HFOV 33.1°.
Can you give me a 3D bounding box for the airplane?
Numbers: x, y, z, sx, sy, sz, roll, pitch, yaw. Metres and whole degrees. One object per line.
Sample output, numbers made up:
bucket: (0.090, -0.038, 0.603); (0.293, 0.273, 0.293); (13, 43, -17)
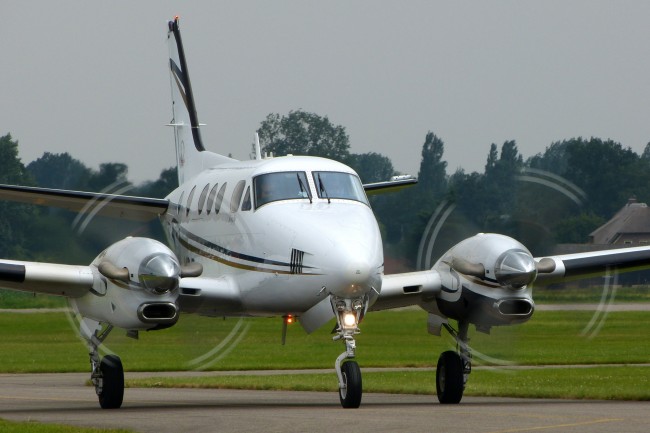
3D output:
airplane: (-1.188, 1.213, 29.900); (14.384, 8.194, 7.840); (2, -7, 11)
